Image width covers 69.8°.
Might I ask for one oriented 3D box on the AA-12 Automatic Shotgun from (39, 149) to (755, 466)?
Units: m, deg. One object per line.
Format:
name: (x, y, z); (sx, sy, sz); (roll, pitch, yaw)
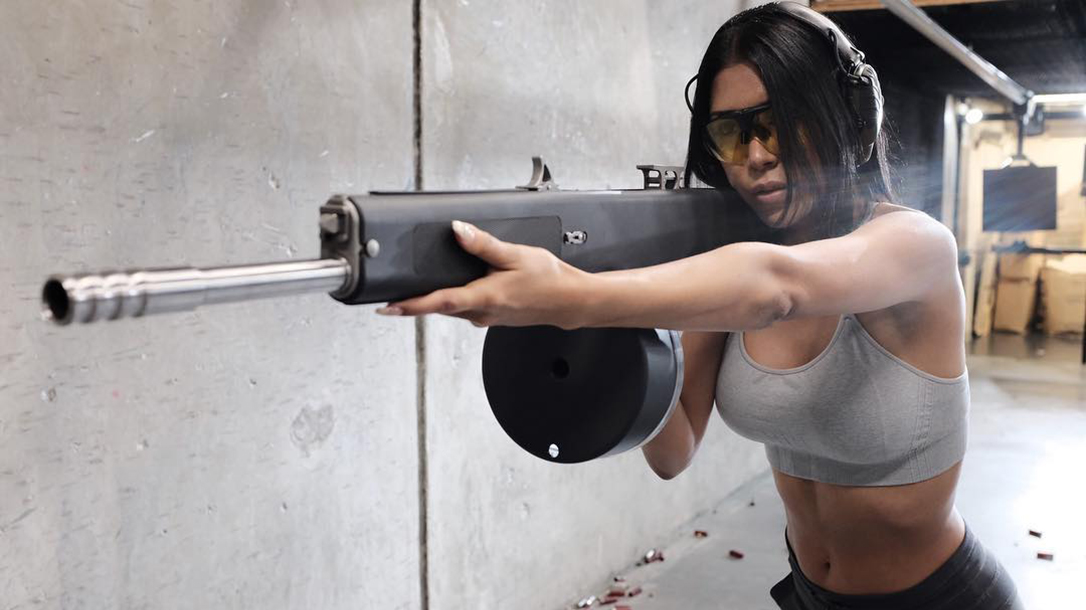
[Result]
AA-12 Automatic Shotgun: (-0.120, 0.027, 1.593); (1.473, 0.663, 0.267); (-7, 6, -30)

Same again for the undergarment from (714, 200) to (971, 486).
undergarment: (0.731, 0.104, 2.046); (0.527, 0.594, 0.610); (-2, 1, -39)

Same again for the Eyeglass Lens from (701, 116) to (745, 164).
Eyeglass Lens: (0.419, -0.378, 1.786); (0.100, 0.099, 0.036); (-2, 37, 35)

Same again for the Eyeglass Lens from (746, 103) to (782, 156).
Eyeglass Lens: (0.505, -0.400, 1.772); (0.033, 0.101, 0.103); (-9, 5, -28)

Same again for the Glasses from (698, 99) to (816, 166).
Glasses: (0.560, -0.423, 1.853); (0.229, 0.103, 0.278); (-1, 16, 45)
